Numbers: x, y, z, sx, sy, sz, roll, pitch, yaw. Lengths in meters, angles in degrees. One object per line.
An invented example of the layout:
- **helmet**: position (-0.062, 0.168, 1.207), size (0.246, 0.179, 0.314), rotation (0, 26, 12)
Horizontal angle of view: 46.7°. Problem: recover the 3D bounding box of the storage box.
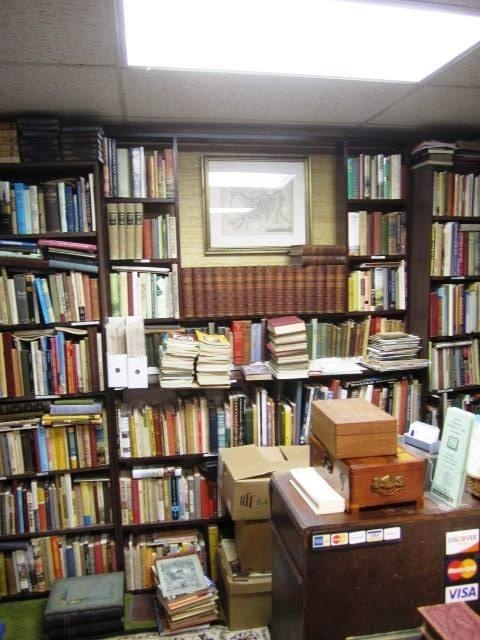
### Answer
- **storage box**: position (0.004, 1.262, 2.709), size (0.263, 0.316, 0.454), rotation (0, -3, -9)
